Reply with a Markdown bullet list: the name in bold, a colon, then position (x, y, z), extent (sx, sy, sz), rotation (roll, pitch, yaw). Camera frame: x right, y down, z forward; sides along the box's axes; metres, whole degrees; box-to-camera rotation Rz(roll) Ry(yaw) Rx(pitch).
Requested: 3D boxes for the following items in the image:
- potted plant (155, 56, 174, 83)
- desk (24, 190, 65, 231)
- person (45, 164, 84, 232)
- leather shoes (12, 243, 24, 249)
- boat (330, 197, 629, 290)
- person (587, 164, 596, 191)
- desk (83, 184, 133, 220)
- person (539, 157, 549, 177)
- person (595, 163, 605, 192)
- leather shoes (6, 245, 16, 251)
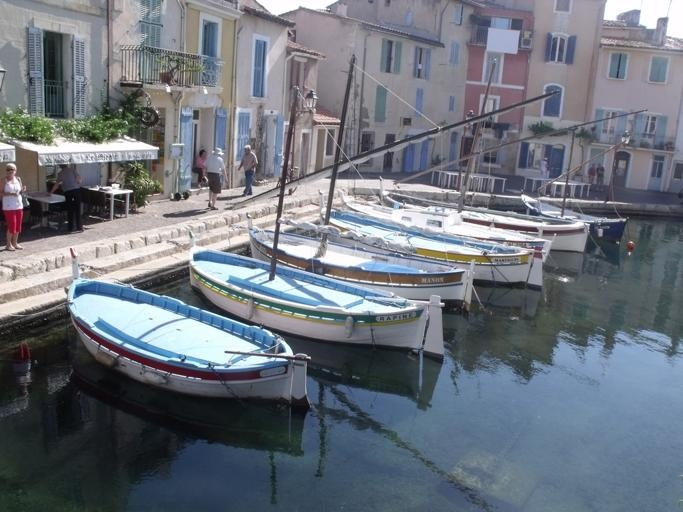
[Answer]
- **potted plant**: position (-6.100, -6.391, 22.429), extent (0.212, 0.951, 0.604), rotation (13, 17, 41)
- **desk**: position (-8.372, -1.397, 18.470), extent (1.560, 0.791, 0.847), rotation (25, 28, 33)
- **person**: position (-7.784, -1.606, 18.416), extent (0.746, 1.825, 0.628), rotation (-3, 14, -23)
- **leather shoes**: position (-8.265, -0.234, 16.631), extent (0.210, 0.153, 0.078), rotation (-3, 51, -23)
- **boat**: position (4.902, -0.391, 23.192), extent (7.900, 1.975, 1.872), rotation (16, 11, 20)
- **person**: position (15.917, -5.043, 41.489), extent (0.485, 1.391, 1.832), rotation (7, 13, 20)
- **desk**: position (-7.306, -1.680, 20.542), extent (1.429, 0.969, 1.233), rotation (-5, 14, -29)
- **person**: position (13.297, -5.790, 42.691), extent (0.566, 1.158, 1.994), rotation (6, 13, 16)
- **person**: position (16.595, -5.076, 41.757), extent (0.446, 1.421, 2.174), rotation (7, 13, 23)
- **leather shoes**: position (-8.368, -0.205, 16.439), extent (0.250, 0.103, 0.084), rotation (22, 27, 39)
